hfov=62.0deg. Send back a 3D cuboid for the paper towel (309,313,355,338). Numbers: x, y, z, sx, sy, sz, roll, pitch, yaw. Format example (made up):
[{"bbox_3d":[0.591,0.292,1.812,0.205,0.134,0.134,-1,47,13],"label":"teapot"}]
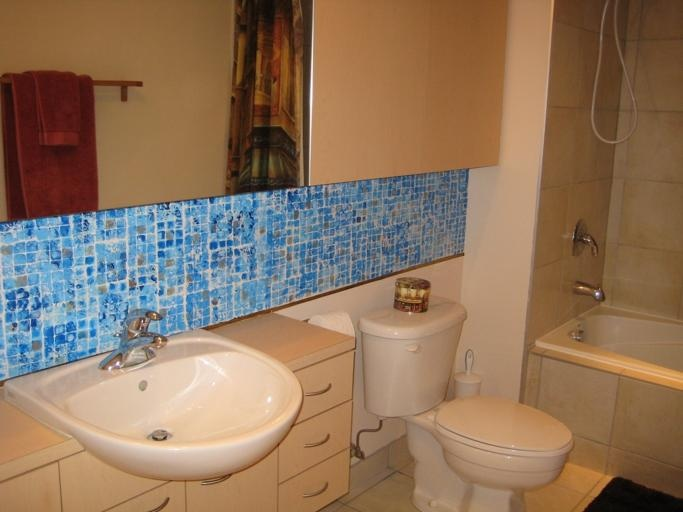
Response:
[{"bbox_3d":[-0.027,0.247,2.335,0.104,0.134,0.134,9,10,41],"label":"paper towel"}]

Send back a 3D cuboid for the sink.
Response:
[{"bbox_3d":[-0.475,0.446,1.624,0.484,0.145,0.468,21,25,31],"label":"sink"}]

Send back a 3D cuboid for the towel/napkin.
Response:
[{"bbox_3d":[-0.795,-0.319,1.533,0.280,0.541,0.147,-15,38,-42],"label":"towel/napkin"}]
